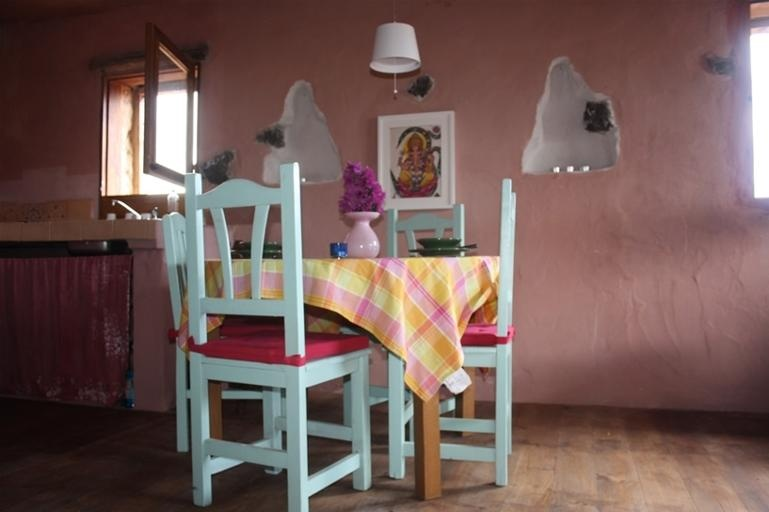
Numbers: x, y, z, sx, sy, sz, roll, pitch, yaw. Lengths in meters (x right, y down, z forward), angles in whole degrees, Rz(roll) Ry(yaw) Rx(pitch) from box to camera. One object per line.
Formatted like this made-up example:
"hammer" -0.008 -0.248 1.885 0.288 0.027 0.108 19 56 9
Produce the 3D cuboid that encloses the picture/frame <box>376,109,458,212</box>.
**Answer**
"picture/frame" 0.266 -0.726 5.349 0.766 1.020 0.073 0 3 11

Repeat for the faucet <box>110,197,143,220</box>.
"faucet" -2.121 -0.400 5.780 0.101 0.196 0.457 8 15 7

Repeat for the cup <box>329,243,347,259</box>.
"cup" -0.284 -0.035 4.386 0.098 0.108 0.096 1 3 0

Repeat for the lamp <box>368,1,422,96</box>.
"lamp" 0.076 -1.637 5.113 0.394 0.745 0.750 0 0 0

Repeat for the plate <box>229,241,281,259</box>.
"plate" -0.873 -0.040 4.544 0.250 0.086 0.164 0 2 19
